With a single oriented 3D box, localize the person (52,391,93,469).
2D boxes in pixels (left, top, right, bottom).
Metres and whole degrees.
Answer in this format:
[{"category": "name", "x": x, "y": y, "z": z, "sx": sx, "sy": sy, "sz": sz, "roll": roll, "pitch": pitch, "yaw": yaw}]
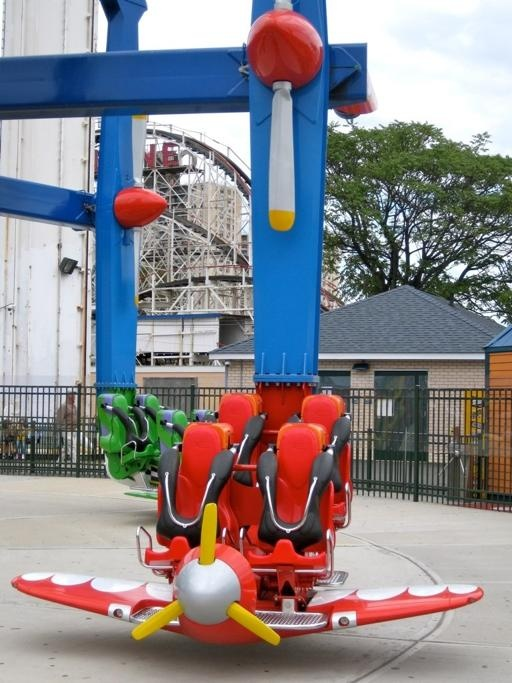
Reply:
[{"category": "person", "x": -3.277, "y": 1.559, "z": 20.655, "sx": 0.707, "sy": 1.248, "sz": 1.229, "roll": 0, "pitch": -21, "yaw": -7}]
